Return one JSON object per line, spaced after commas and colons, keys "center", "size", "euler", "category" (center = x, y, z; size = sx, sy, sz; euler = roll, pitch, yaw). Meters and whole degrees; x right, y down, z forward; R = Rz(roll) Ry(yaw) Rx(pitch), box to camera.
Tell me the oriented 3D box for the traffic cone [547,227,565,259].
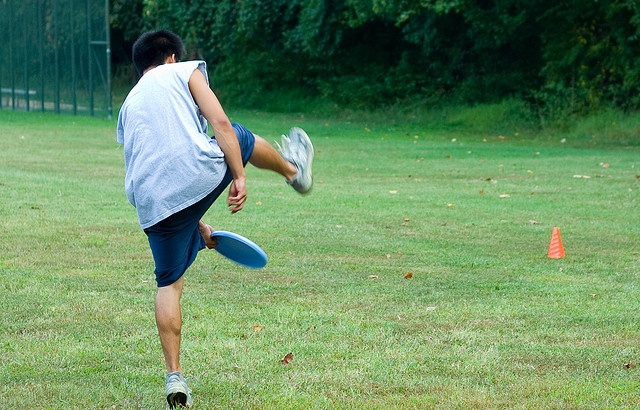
{"center": [4.298, 0.686, 21.390], "size": [0.293, 0.524, 0.390], "euler": [3, 14, 11], "category": "traffic cone"}
